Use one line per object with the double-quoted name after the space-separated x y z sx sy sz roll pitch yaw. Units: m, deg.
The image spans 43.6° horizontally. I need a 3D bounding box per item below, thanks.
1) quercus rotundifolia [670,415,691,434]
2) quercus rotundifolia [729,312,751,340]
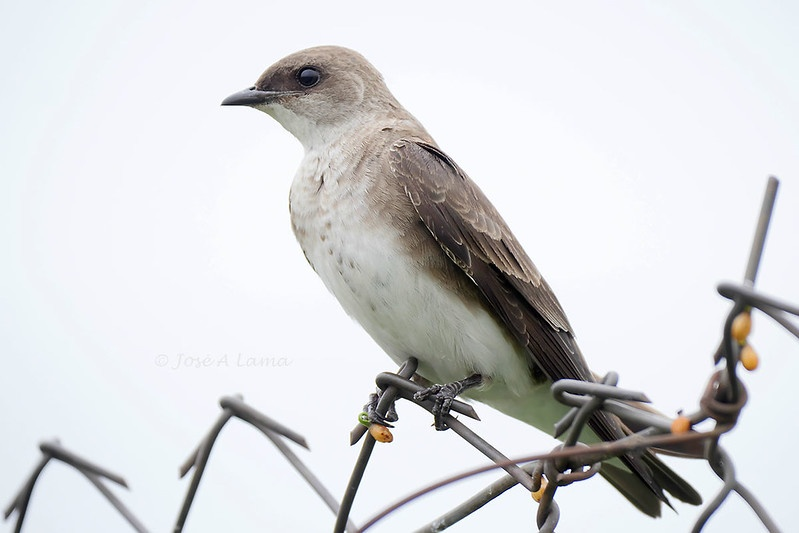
0.811 0.458 2.879 0.050 0.057 0.051 3 1 32 "quercus rotundifolia"
0.969 0.169 2.828 0.043 0.043 0.087 38 -101 -11 "quercus rotundifolia"
